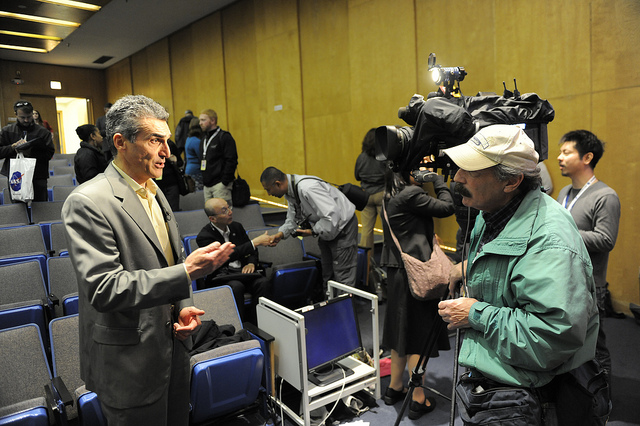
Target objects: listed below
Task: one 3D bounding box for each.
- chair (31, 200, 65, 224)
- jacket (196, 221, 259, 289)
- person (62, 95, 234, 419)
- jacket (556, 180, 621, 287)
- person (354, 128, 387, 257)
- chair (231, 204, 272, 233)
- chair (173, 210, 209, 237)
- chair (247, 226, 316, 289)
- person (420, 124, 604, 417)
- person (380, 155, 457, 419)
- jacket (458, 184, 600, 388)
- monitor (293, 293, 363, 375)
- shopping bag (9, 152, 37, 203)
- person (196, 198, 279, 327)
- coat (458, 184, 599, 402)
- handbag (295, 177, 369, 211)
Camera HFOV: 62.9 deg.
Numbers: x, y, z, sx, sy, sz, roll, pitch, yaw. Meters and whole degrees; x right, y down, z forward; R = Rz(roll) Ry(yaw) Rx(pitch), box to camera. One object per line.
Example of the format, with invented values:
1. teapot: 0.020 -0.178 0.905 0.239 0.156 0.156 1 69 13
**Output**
1. chair: -3.602 0.002 6.808 0.326 0.438 0.364 0 -1 -44
2. jacket: -0.998 0.321 5.549 0.618 0.793 0.534 3 9 -6
3. person: -1.077 0.328 3.037 0.744 2.020 0.556 -7 8 -28
4. jacket: 2.185 0.170 4.410 0.463 0.866 0.674 -9 11 -22
5. person: 0.656 -0.304 7.106 0.416 1.630 0.399 16 17 38
6. chair: -0.980 0.050 6.797 0.370 0.510 0.412 -7 1 -36
7. chair: -1.498 0.120 5.881 0.307 0.209 0.171 -3 2 -43
8. chair: -0.387 0.480 5.790 0.595 0.774 0.697 -3 -3 -23
9. person: 1.164 0.327 2.983 0.839 1.653 0.414 1 8 28
10. person: 0.761 0.646 4.354 0.603 1.946 0.778 -4 20 -18
11. jacket: 1.182 0.417 2.967 0.754 1.086 0.354 0 8 21
12. monitor: 0.054 1.025 4.327 0.551 0.458 0.073 -14 -4 -28
13. shopping bag: -3.768 -0.451 6.466 0.309 0.621 0.272 -6 8 -22
14. person: -0.875 0.605 5.529 0.669 1.470 0.842 -14 7 -40
15. coat: 1.169 0.458 3.129 0.644 1.222 0.716 7 15 12
16. handbag: 0.196 -0.184 5.685 0.944 0.347 0.311 10 -17 -32
